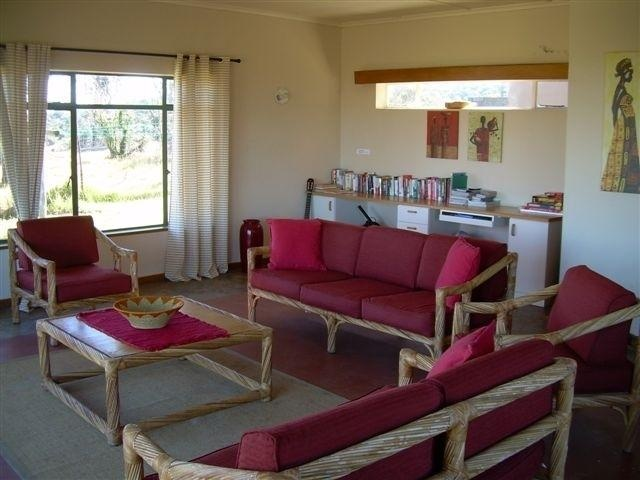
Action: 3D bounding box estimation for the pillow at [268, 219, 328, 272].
[{"bbox_3d":[-0.214,0.065,5.037,0.709,0.499,0.209,-1,-9,-2],"label":"pillow"}]

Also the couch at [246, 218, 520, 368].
[{"bbox_3d":[0.470,0.489,4.232,0.600,0.559,1.629,-4,8,-45],"label":"couch"}]

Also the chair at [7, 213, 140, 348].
[{"bbox_3d":[-2.574,0.323,5.338,1.449,1.256,1.546,-7,10,-43],"label":"chair"}]

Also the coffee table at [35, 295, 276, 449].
[{"bbox_3d":[-1.080,0.742,3.437,1.270,0.460,1.214,-7,14,-39],"label":"coffee table"}]

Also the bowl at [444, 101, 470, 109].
[{"bbox_3d":[1.853,-1.834,6.451,0.215,0.057,0.177,-1,7,6],"label":"bowl"}]
